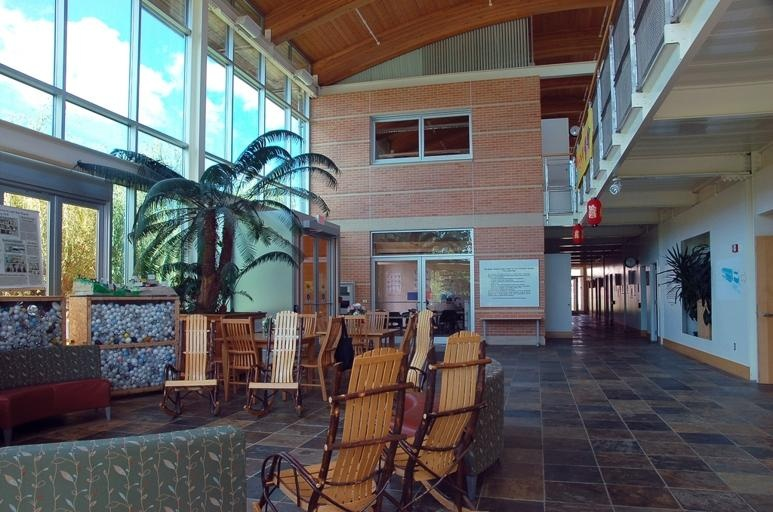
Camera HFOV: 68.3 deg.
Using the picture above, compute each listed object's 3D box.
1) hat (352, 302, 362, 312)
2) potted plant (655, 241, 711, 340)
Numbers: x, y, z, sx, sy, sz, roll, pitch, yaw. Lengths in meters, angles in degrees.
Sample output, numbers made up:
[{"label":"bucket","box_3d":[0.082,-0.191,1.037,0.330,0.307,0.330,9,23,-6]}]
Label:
[{"label":"hat","box_3d":[-0.642,1.146,12.843,0.195,0.210,0.231,2,-7,-2]},{"label":"potted plant","box_3d":[7.385,0.789,13.805,0.790,2.288,3.055,-2,-5,20]}]
